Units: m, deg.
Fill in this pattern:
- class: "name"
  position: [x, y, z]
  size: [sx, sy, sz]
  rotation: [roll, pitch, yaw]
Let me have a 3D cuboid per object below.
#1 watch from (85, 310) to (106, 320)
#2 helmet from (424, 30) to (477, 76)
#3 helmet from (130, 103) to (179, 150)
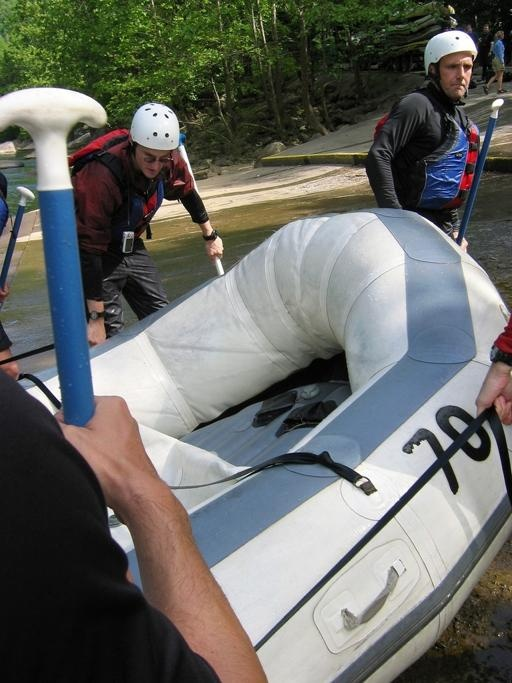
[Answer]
- class: "watch"
  position: [-0.904, -0.149, 3.010]
  size: [0.068, 0.030, 0.062]
  rotation: [-2, 10, -2]
- class: "helmet"
  position: [1.057, -1.587, 2.916]
  size: [0.260, 0.215, 0.292]
  rotation: [3, 30, 16]
- class: "helmet"
  position: [-0.558, -1.143, 2.982]
  size: [0.254, 0.241, 0.293]
  rotation: [0, 49, -18]
